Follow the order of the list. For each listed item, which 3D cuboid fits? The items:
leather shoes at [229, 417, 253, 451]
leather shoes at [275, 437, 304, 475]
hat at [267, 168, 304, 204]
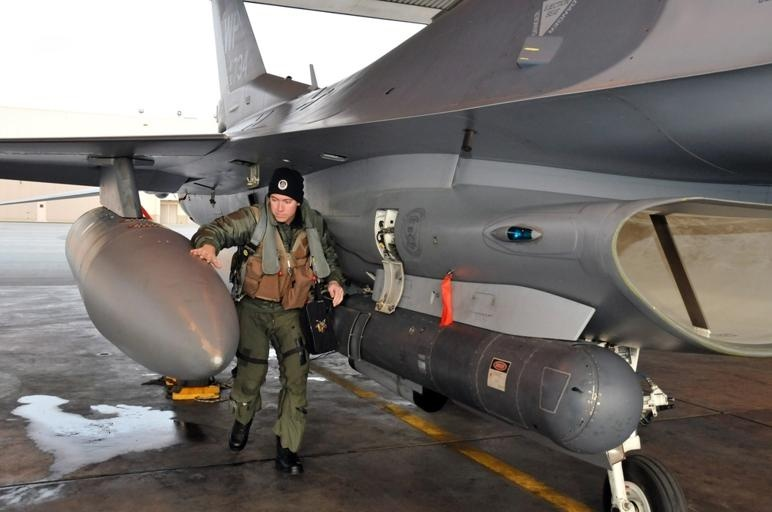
[{"bbox_3d":[-1.137,1.389,3.907,0.120,0.305,0.137,21,-8,-32],"label":"leather shoes"},{"bbox_3d":[-0.715,1.457,3.647,0.274,0.223,0.146,1,7,36],"label":"leather shoes"},{"bbox_3d":[-0.754,-0.533,3.703,0.277,0.194,0.268,4,-1,1],"label":"hat"}]
